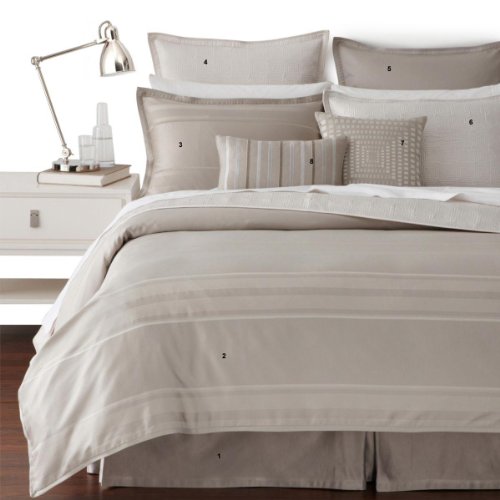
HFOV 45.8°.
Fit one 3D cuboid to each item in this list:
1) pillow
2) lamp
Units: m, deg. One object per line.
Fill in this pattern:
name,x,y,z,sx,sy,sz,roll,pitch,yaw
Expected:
pillow,0.317,-0.704,2.790,1.683,0.752,0.748,-2,15,1
lamp,-0.807,-0.769,2.871,0.437,0.695,0.629,-8,16,-17
